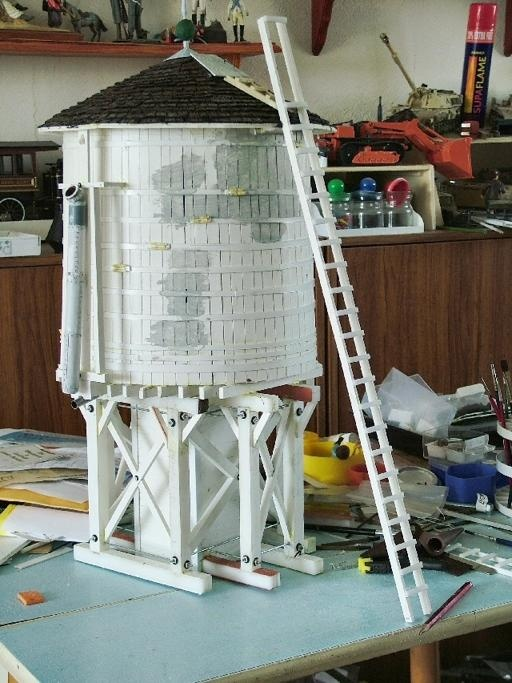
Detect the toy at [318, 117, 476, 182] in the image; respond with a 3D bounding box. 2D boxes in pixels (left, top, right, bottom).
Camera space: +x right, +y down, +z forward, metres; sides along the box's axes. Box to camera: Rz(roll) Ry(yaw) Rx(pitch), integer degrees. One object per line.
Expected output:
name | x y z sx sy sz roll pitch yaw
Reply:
toy | 0.579 -0.733 2.627 0.534 0.175 0.263 8 22 26
